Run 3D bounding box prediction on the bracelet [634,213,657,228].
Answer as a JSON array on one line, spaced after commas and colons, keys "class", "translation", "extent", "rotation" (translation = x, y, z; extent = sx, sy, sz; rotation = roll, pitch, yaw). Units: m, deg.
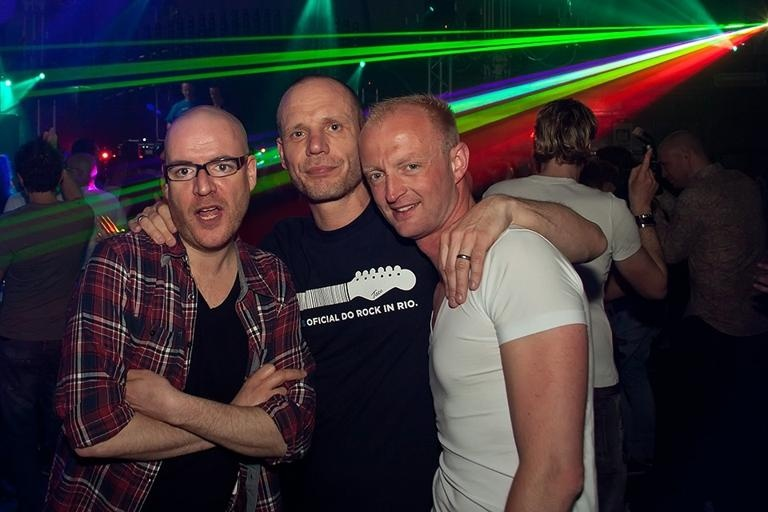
[{"class": "bracelet", "translation": [2.384, -0.328, 5.516], "extent": [0.201, 0.114, 0.200], "rotation": [6, -16, -41]}]
